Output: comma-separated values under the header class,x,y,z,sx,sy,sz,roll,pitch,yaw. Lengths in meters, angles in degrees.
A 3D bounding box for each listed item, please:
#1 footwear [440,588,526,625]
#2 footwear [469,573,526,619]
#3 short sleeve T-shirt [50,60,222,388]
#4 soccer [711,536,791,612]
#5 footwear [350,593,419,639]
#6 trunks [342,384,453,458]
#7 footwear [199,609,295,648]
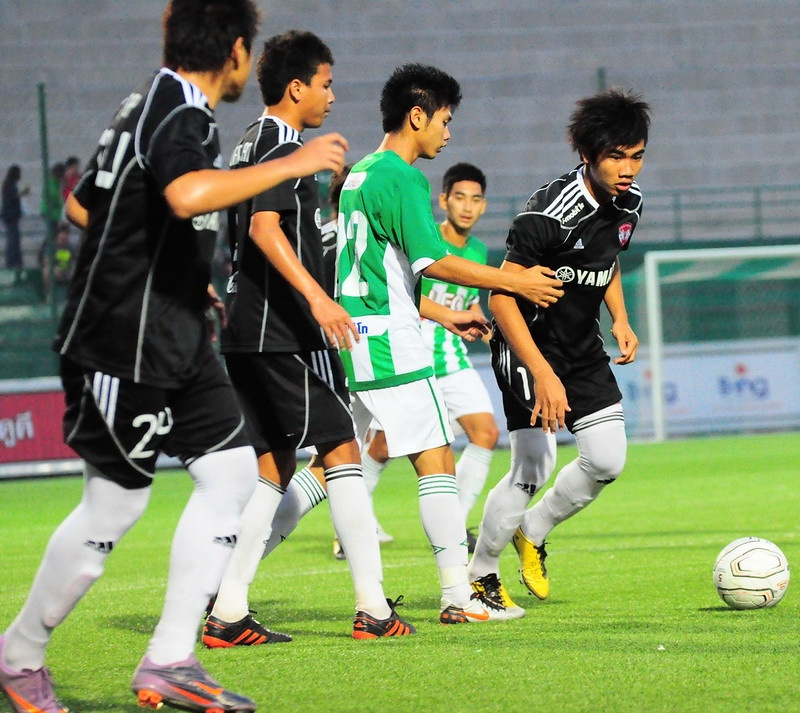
class,x,y,z,sx,sy,sz,roll,pitch,yaw
footwear,0.388,1.111,6.039,0.404,0.159,0.135,-1,-4,-16
footwear,0.431,1.098,6.132,0.314,0.195,0.107,2,6,23
short sleeve T-shirt,-0.909,-0.439,4.665,0.571,1.095,0.327,-3,7,-15
soccer,1.571,0.981,6.093,0.282,0.319,0.307,-1,-17,15
footwear,-0.090,1.118,5.746,0.328,0.167,0.116,3,-4,-36
trunks,-0.020,0.285,6.064,0.389,0.236,0.168,-9,17,31
footwear,-0.649,1.144,5.679,0.412,0.177,0.142,2,-8,-11
